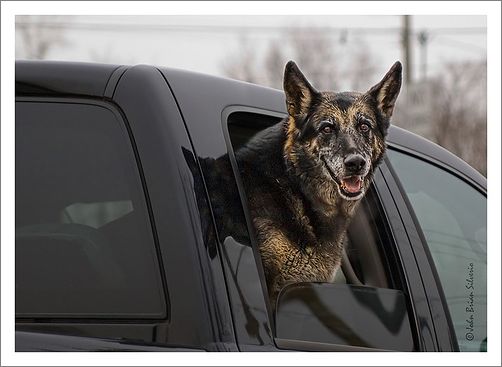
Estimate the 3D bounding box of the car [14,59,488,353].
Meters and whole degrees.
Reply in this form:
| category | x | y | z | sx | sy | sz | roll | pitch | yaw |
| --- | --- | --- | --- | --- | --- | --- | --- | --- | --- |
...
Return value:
| category | x | y | z | sx | sy | sz | roll | pitch | yaw |
| --- | --- | --- | --- | --- | --- | --- | --- | --- | --- |
| car | 0.037 | 0.130 | 2.618 | 1.823 | 1.107 | 1.038 | 2 | -7 | -36 |
